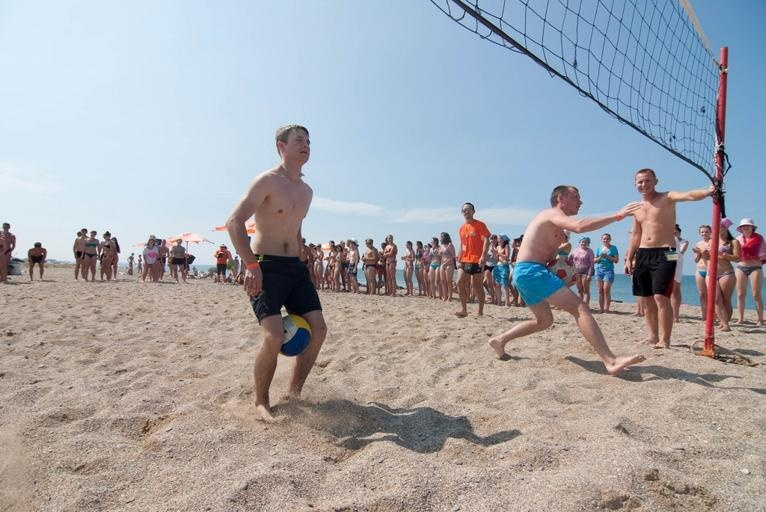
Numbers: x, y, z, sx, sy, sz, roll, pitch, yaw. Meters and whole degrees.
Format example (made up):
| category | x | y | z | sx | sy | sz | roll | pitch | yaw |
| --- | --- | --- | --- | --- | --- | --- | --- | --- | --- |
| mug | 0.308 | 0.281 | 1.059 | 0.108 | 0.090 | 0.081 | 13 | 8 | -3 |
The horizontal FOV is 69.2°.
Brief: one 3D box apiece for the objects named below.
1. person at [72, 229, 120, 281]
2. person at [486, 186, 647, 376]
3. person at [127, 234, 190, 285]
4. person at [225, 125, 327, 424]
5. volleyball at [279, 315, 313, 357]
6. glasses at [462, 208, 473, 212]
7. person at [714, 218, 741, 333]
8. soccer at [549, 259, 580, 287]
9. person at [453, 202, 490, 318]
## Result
| category | x | y | z | sx | sy | sz | roll | pitch | yaw |
| --- | --- | --- | --- | --- | --- | --- | --- | --- | --- |
| person | -7.220 | 0.022 | 14.040 | 1.286 | 1.732 | 0.692 | 2 | -6 | -41 |
| person | 1.751 | 0.225 | 5.586 | 1.442 | 1.878 | 0.574 | -3 | -3 | 25 |
| person | -6.246 | 0.183 | 15.901 | 1.483 | 0.839 | 1.903 | 3 | -35 | -17 |
| person | -0.928 | 0.119 | 4.912 | 0.874 | 2.580 | 0.523 | 0 | -3 | -26 |
| volleyball | -0.721 | 0.696 | 4.945 | 0.292 | 0.369 | 0.310 | 1 | 6 | 5 |
| glasses | 1.258 | -0.698 | 8.209 | 0.148 | 0.086 | 0.139 | -2 | -2 | 11 |
| person | 4.827 | 0.311 | 7.779 | 0.308 | 1.451 | 0.640 | -3 | -3 | 31 |
| soccer | 1.891 | 0.178 | 5.766 | 0.277 | 0.340 | 0.279 | -19 | -2 | 16 |
| person | 1.298 | 0.046 | 8.362 | 0.580 | 1.734 | 0.523 | -6 | -7 | 42 |
